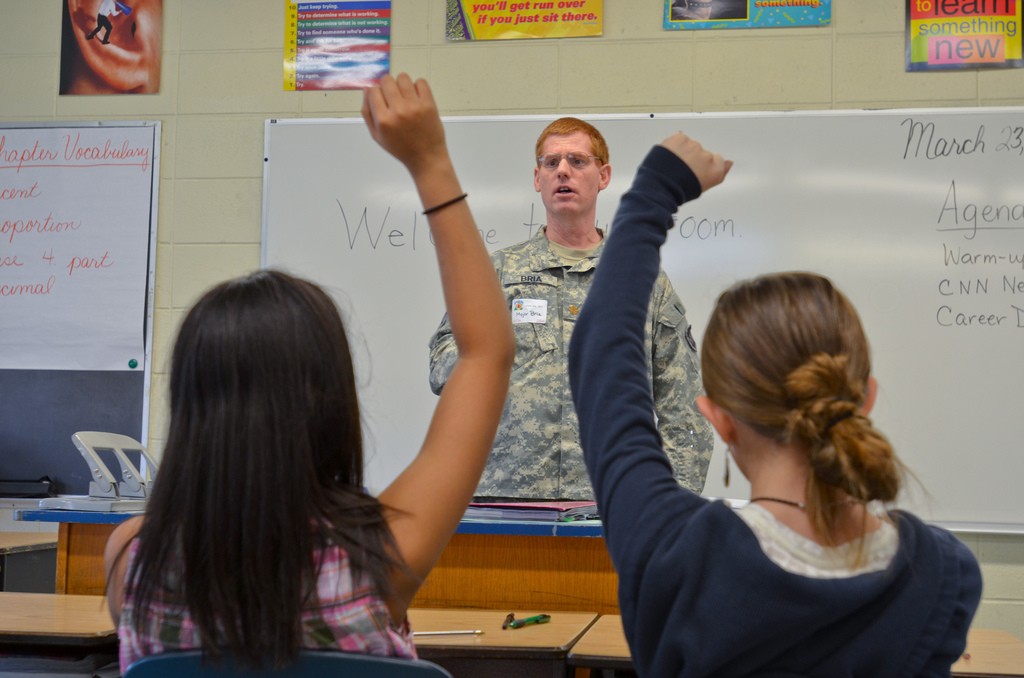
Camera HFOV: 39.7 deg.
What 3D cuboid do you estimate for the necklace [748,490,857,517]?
[{"bbox_3d":[0.898,0.499,4.296,0.300,0.034,0.055,4,25,18],"label":"necklace"}]

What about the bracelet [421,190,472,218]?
[{"bbox_3d":[-0.198,-0.412,4.318,0.131,0.066,0.096,-2,7,-5],"label":"bracelet"}]
